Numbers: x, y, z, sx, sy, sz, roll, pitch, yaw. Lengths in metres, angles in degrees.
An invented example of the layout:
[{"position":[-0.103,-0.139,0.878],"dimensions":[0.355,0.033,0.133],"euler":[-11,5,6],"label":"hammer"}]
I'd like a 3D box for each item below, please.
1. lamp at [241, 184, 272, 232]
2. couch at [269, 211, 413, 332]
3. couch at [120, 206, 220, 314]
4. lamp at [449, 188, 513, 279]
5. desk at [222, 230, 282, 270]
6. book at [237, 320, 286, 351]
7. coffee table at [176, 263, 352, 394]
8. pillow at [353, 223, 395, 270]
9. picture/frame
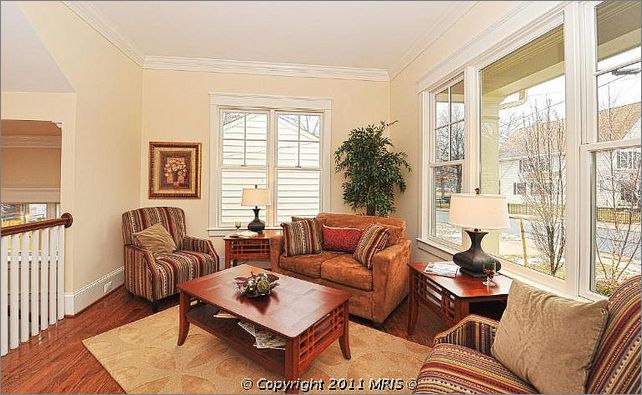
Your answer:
[{"position":[-0.975,0.176,6.018],"dimensions":[0.395,0.692,0.605],"euler":[-1,3,-10],"label":"lamp"},{"position":[0.251,0.851,5.405],"dimensions":[1.744,1.036,0.927],"euler":[6,12,34],"label":"couch"},{"position":[-2.082,0.726,5.494],"dimensions":[0.974,1.038,1.015],"euler":[10,10,33],"label":"couch"},{"position":[1.632,0.388,4.272],"dimensions":[0.385,0.936,0.529],"euler":[-2,4,-31],"label":"lamp"},{"position":[-1.035,0.641,6.010],"dimensions":[0.855,0.712,0.609],"euler":[-1,-2,-13],"label":"desk"},{"position":[-0.600,1.404,4.101],"dimensions":[0.256,0.093,0.322],"euler":[-12,31,-29],"label":"book"},{"position":[-0.351,0.961,4.243],"dimensions":[1.746,0.685,1.072],"euler":[3,3,37],"label":"coffee table"},{"position":[0.617,0.595,5.024],"dimensions":[0.206,0.480,0.509],"euler":[25,-13,-26],"label":"pillow"},{"position":[-2.283,-0.425,6.141],"dimensions":[0.972,0.982,0.110],"euler":[1,4,-9],"label":"picture/frame"}]
